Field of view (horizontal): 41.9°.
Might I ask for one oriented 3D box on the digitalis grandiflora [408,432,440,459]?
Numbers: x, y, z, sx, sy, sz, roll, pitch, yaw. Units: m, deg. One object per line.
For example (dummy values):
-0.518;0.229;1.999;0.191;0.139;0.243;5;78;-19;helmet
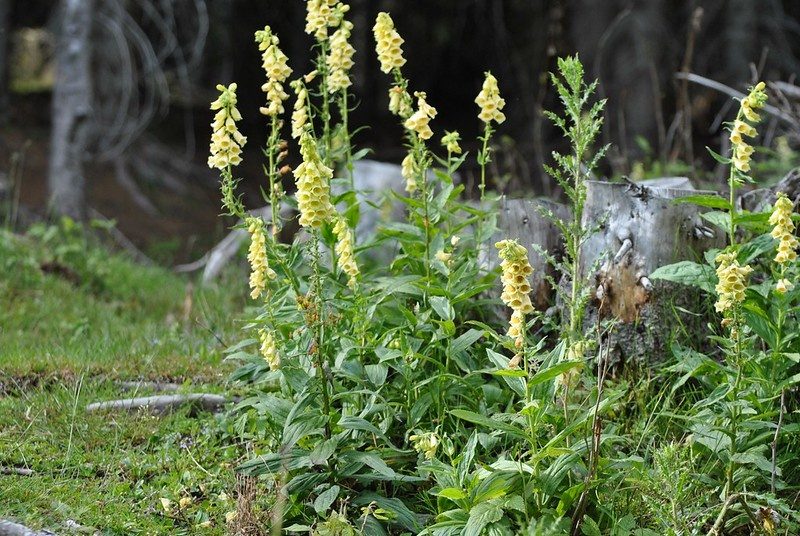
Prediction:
0.129;0.958;5.595;0.151;0.111;0.153;5;-2;-5;digitalis grandiflora
